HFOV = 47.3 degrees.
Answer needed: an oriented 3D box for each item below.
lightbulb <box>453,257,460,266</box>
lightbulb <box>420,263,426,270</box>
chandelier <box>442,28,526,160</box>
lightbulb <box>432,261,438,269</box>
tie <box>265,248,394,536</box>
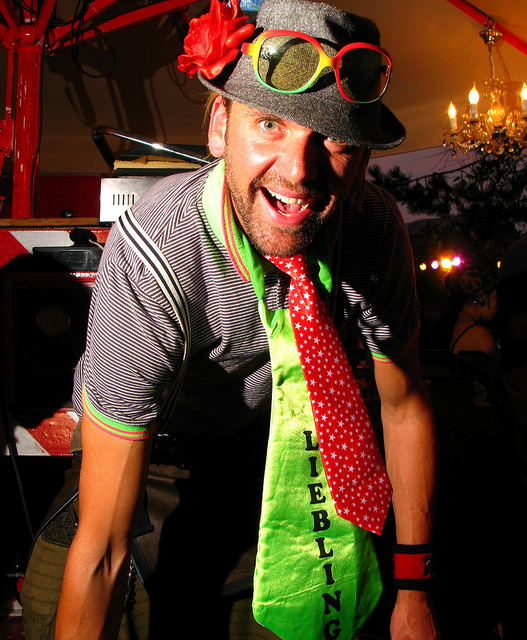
[{"bbox_3d":[1.214,-0.372,3.803,0.038,0.050,0.029,2,12,20],"label":"lightbulb"},{"bbox_3d":[1.051,-0.352,3.986,0.046,0.038,0.036,7,14,37],"label":"lightbulb"},{"bbox_3d":[1.699,-1.767,4.548,0.630,1.073,1.003,2,11,16],"label":"chandelier"},{"bbox_3d":[1.110,-0.362,3.909,0.032,0.044,0.031,1,11,15],"label":"lightbulb"},{"bbox_3d":[0.137,0.168,1.108,0.133,0.641,0.032,-9,-11,-5],"label":"tie"}]
